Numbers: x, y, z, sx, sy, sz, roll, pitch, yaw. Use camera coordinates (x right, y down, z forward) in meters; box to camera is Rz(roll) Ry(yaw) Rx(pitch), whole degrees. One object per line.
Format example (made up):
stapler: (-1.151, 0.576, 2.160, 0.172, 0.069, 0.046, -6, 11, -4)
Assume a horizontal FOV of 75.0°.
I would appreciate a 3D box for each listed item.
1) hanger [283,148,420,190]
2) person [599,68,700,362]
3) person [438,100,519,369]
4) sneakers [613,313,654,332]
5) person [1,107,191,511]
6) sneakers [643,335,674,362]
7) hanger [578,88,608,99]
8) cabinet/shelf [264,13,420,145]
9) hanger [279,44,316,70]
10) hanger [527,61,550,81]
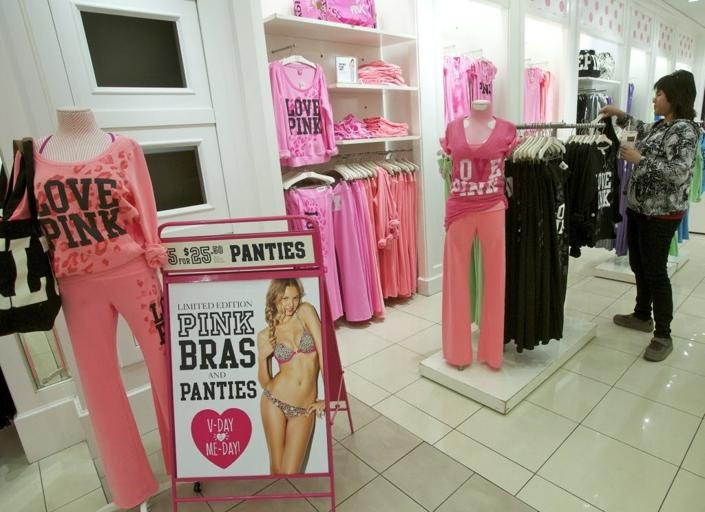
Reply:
hanger: (-0.008, -0.816, 4.345, 1.618, 0.268, 0.519, -19, 21, -33)
person: (2.238, -0.320, 3.566, 0.598, 2.051, 0.707, 9, 22, 44)
person: (0.850, -0.109, 3.151, 0.510, 1.801, 0.285, 0, 16, 21)
sneakers: (2.379, 0.531, 3.884, 0.118, 0.111, 0.253, -12, 19, -39)
person: (-1.250, 0.323, 2.516, 0.548, 2.187, 0.372, -12, 16, -21)
sneakers: (2.298, 0.690, 3.470, 0.113, 0.120, 0.273, 3, 18, 44)
hanger: (3.247, -2.207, 6.248, 0.162, 0.084, 0.300, 7, 13, 38)
cabinet/shelf: (-0.018, -1.578, 4.256, 1.365, 1.107, 0.567, -16, 18, -28)
hanger: (-0.485, -1.692, 3.911, 0.414, 0.241, 0.041, -13, -18, -49)
hanger: (2.274, -2.323, 5.717, 0.135, 0.190, 0.449, -19, 27, -25)
